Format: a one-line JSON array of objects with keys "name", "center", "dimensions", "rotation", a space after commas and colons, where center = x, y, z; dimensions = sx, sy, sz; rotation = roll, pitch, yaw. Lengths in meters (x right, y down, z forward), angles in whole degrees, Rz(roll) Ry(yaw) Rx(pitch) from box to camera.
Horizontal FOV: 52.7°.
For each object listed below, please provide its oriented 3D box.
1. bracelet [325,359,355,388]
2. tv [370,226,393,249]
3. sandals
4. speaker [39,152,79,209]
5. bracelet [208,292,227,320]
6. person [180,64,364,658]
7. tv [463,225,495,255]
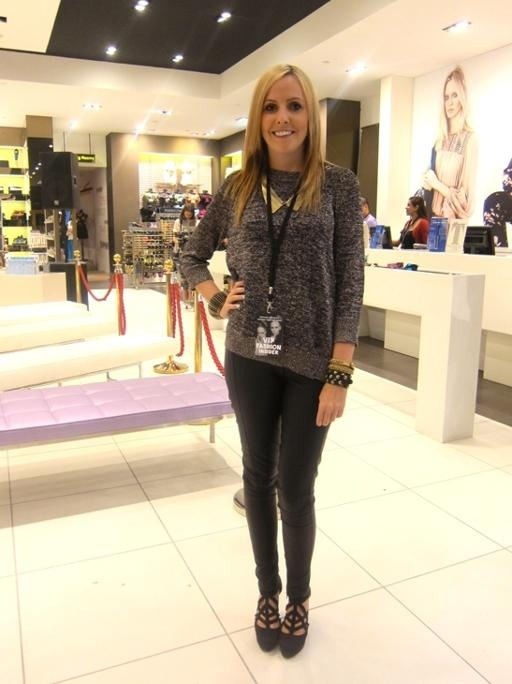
[{"name": "bracelet", "center": [0.176, 0.066, 1.088], "dimensions": [0.057, 0.055, 0.060], "rotation": [17, 14, 6]}, {"name": "tv", "center": [1.292, -1.100, 5.347], "dimensions": [0.212, 0.270, 0.655], "rotation": [2, 9, 12]}, {"name": "sandals", "center": [0.070, 0.733, 1.344], "dimensions": [0.115, 0.051, 0.208], "rotation": [0, 31, 8]}, {"name": "speaker", "center": [-2.853, -2.309, 7.400], "dimensions": [0.499, 0.748, 0.513], "rotation": [5, 13, 9]}, {"name": "bracelet", "center": [-0.087, -0.091, 1.316], "dimensions": [0.054, 0.056, 0.065], "rotation": [-6, -1, 1]}, {"name": "person", "center": [0.027, 0.095, 1.268], "dimensions": [0.455, 1.434, 0.265], "rotation": [3, 9, 18]}, {"name": "tv", "center": [1.799, -0.824, 4.185], "dimensions": [0.158, 0.279, 0.276], "rotation": [-6, 11, -38]}]
